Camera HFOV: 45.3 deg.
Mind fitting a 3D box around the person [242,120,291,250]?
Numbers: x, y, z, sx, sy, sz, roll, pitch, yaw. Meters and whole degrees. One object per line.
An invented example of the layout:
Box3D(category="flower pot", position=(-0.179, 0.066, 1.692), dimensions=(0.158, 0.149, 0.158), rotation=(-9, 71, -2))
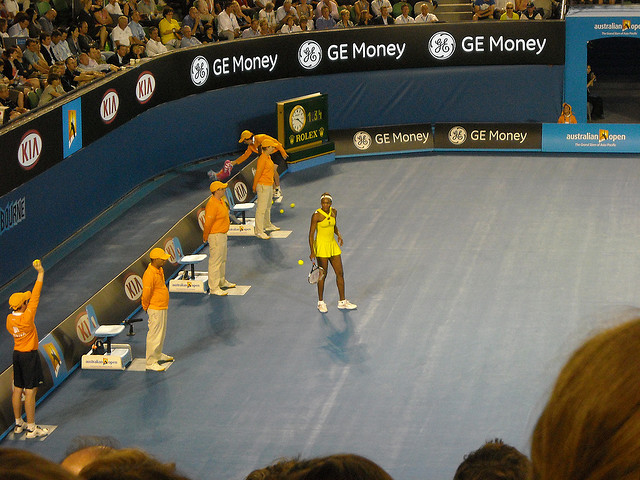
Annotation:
Box3D(category="person", position=(-1.279, -1.107, 15.193), dimensions=(1.377, 2.283, 1.111), rotation=(9, 23, 14))

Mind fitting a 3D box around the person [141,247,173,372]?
Box3D(category="person", position=(-2.267, 0.971, 10.545), dimensions=(0.329, 1.712, 0.511), rotation=(5, 22, 25))

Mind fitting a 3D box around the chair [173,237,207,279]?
Box3D(category="chair", position=(-2.372, 0.351, 13.723), dimensions=(0.513, 0.926, 0.438), rotation=(0, 20, 5))

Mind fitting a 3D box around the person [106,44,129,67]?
Box3D(category="person", position=(-4.502, -4.065, 16.786), dimensions=(0.716, 0.411, 0.486), rotation=(15, 28, 41))

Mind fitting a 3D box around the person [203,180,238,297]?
Box3D(category="person", position=(-1.772, -0.153, 13.114), dimensions=(0.512, 1.927, 1.284), rotation=(-5, 20, -1))

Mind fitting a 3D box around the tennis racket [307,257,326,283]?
Box3D(category="tennis racket", position=(-0.014, 0.517, 11.360), dimensions=(0.304, 0.266, 0.168), rotation=(-20, 25, -35))

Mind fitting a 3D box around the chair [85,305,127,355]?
Box3D(category="chair", position=(-3.047, 1.306, 10.867), dimensions=(0.484, 0.743, 0.549), rotation=(2, 6, 19))

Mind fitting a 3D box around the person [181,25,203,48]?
Box3D(category="person", position=(-3.145, -4.929, 18.402), dimensions=(0.482, 0.464, 0.869), rotation=(-8, 21, -9))

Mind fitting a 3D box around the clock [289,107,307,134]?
Box3D(category="clock", position=(-0.574, -2.974, 18.758), dimensions=(0.046, 0.487, 0.476), rotation=(7, 33, 30))
